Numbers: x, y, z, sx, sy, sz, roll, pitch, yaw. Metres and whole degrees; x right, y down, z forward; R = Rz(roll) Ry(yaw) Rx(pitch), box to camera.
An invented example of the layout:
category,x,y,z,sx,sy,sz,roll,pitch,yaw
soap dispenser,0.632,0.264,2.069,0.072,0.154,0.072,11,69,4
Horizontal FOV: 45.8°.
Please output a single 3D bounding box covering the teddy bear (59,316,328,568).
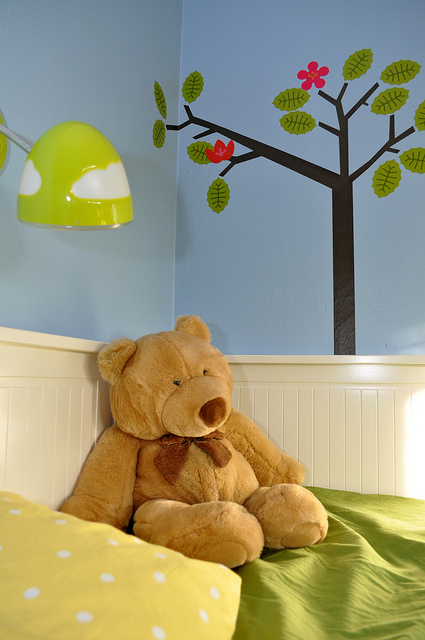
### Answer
category,x,y,z,sx,sy,sz,roll,pitch,yaw
teddy bear,-0.067,0.234,1.269,0.681,0.484,0.507,5,-7,-43
